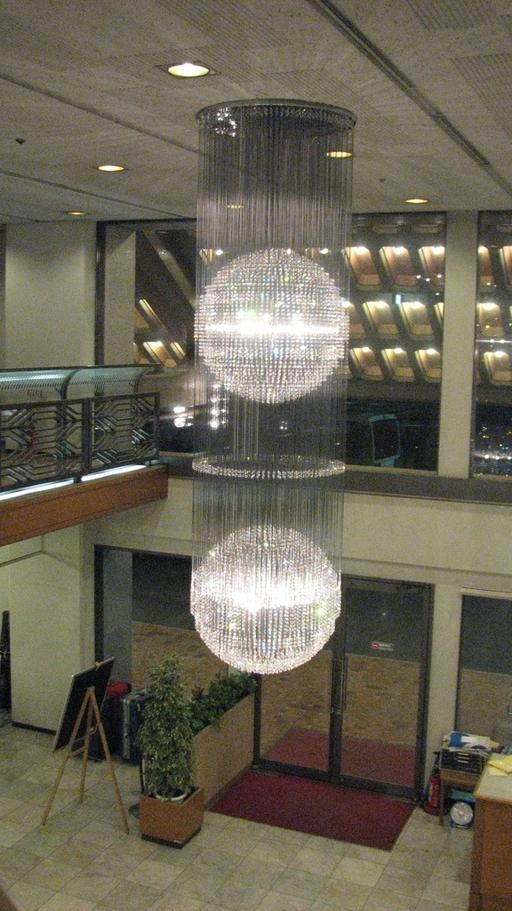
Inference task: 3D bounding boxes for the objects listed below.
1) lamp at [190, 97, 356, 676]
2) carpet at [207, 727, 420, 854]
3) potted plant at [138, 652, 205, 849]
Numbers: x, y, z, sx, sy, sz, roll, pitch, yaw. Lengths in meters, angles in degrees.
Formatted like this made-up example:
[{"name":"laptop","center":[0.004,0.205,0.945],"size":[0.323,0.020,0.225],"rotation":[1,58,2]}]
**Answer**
[{"name":"lamp","center":[0.061,-0.298,3.524],"size":[0.737,2.811,0.768],"rotation":[0,0,-7]},{"name":"carpet","center":[0.637,3.777,7.437],"size":[2.024,0.138,1.163],"rotation":[2,1,20]},{"name":"potted plant","center":[-0.812,2.885,6.554],"size":[0.610,1.330,0.473],"rotation":[1,1,-6]}]
